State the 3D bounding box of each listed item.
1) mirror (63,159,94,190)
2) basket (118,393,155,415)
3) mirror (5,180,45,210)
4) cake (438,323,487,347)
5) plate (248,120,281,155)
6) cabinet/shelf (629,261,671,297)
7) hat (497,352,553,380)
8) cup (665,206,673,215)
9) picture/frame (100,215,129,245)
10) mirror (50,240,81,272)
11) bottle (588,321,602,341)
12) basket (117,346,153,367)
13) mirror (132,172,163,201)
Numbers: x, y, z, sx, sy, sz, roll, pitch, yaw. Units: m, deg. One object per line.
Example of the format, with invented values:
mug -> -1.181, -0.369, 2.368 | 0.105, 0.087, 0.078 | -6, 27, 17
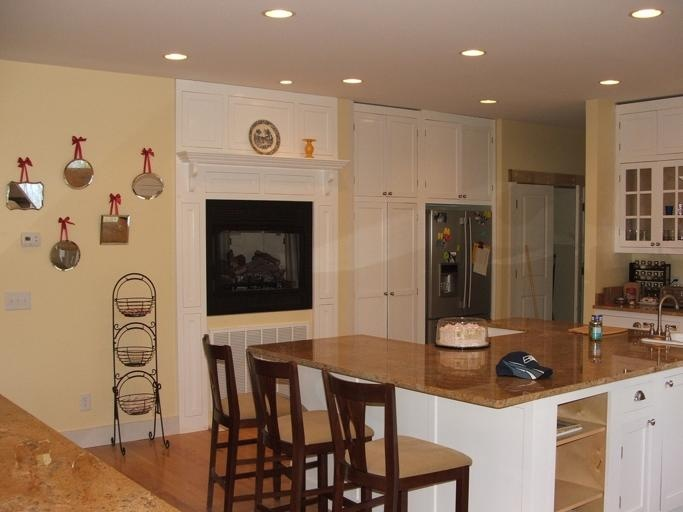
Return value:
mirror -> -2.339, -0.719, 4.971 | 0.277, 0.302, 0.037 | -2, 5, -34
basket -> -1.842, 1.390, 5.089 | 0.315, 0.212, 0.285 | -3, 3, -22
mirror -> -2.712, -0.513, 4.791 | 0.262, 0.226, 0.012 | -3, 7, -33
cake -> 0.831, 0.551, 3.847 | 0.210, 0.090, 0.211 | 0, 0, -2
plate -> -0.771, -1.187, 5.653 | 0.333, 0.341, 0.078 | -13, 13, -39
cabinet/shelf -> 3.586, 0.289, 6.525 | 0.393, 0.486, 0.155 | 1, -6, 16
hat -> 1.013, 0.606, 3.110 | 0.235, 0.096, 0.140 | -2, -2, 32
cup -> 3.602, -0.493, 6.184 | 0.086, 0.086, 0.085 | 1, 2, 0
picture/frame -> -2.069, -0.226, 5.096 | 0.269, 0.282, 0.030 | 0, 1, -30
mirror -> -2.431, 0.010, 4.927 | 0.274, 0.288, 0.039 | -1, 3, -37
bottle -> 1.904, 0.560, 4.213 | 0.084, 0.140, 0.162 | 0, 3, 21
basket -> -1.875, 0.924, 5.142 | 0.222, 0.092, 0.219 | 2, -2, -30
mirror -> -1.816, -0.641, 5.224 | 0.276, 0.277, 0.039 | 0, 1, -35
